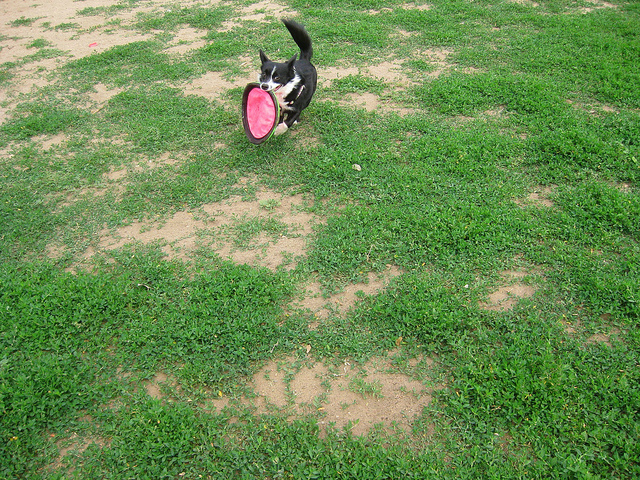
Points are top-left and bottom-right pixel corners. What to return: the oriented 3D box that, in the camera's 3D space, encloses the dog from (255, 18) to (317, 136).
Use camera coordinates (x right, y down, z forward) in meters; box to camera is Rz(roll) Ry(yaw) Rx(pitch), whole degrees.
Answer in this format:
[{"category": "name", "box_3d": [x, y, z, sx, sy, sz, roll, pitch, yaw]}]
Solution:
[{"category": "dog", "box_3d": [-0.466, -2.589, 8.575, 0.712, 1.541, 2.102, 12, 33, 9]}]
